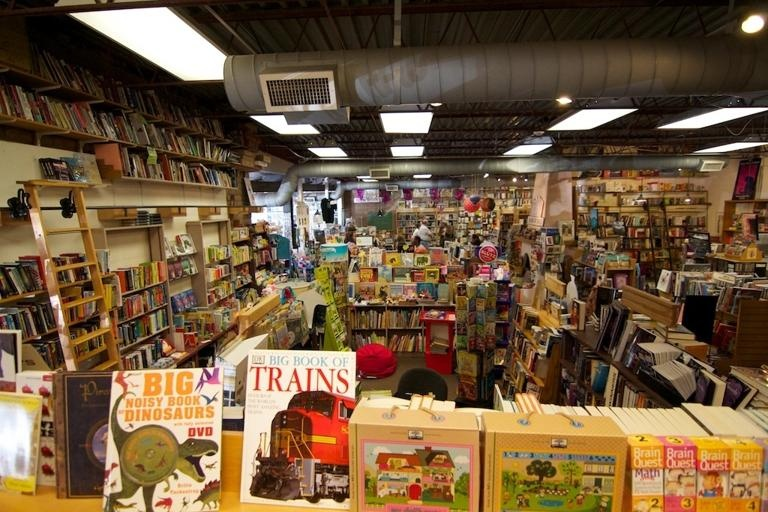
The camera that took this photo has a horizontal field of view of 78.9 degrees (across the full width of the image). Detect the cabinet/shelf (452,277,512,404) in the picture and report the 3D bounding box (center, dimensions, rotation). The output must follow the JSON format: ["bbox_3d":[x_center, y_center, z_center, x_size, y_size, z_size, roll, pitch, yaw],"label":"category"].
[{"bbox_3d":[1.512,1.356,7.481,0.771,1.817,0.880,1,-4,4],"label":"cabinet/shelf"}]

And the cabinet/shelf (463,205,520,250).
[{"bbox_3d":[4.536,-1.469,20.179,2.477,1.979,0.685,-4,34,-1],"label":"cabinet/shelf"}]

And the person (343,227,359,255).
[{"bbox_3d":[-0.979,-0.536,16.183,0.273,1.031,0.805,-1,2,12],"label":"person"}]

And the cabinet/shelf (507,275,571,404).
[{"bbox_3d":[2.175,1.207,6.505,0.598,1.631,1.853,1,4,7],"label":"cabinet/shelf"}]

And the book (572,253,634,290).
[{"bbox_3d":[3.680,0.210,7.732,0.736,0.542,1.305,1,5,14],"label":"book"}]

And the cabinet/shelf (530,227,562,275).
[{"bbox_3d":[3.256,-0.117,9.244,0.576,0.853,0.798,1,6,11],"label":"cabinet/shelf"}]
